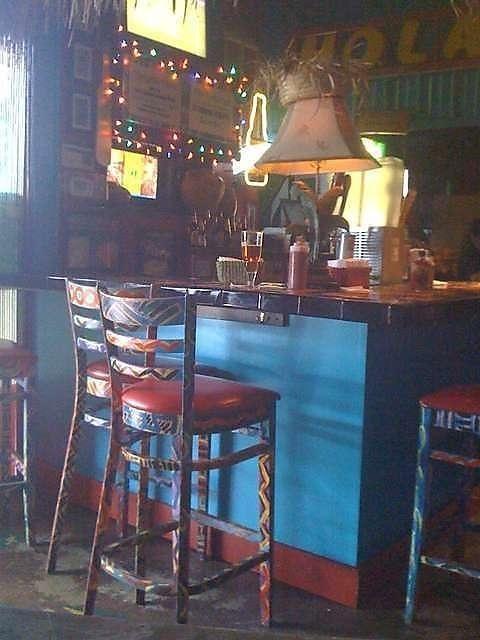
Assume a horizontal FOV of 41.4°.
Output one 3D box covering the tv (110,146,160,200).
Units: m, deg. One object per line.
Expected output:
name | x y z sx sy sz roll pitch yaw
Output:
tv | -0.526 -0.724 3.159 0.096 0.230 0.384 6 6 18

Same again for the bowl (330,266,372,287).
bowl | 0.350 -0.135 1.980 0.096 0.060 0.065 -4 9 -16

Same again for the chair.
chair | 0.153 0.345 1.878 1.066 0.667 1.044 1 1 -45
